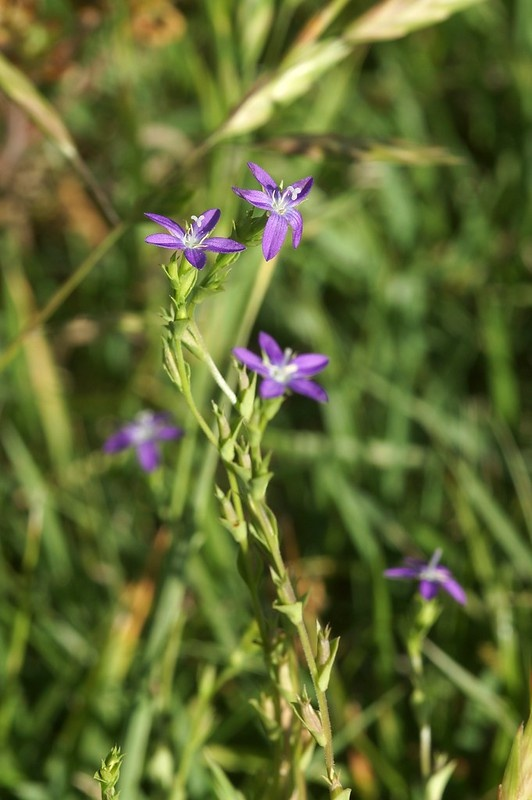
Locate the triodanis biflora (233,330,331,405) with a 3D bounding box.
[{"bbox_3d":[0.017,-0.026,0.567,0.068,0.033,0.060,14,-19,-9],"label":"triodanis biflora"}]

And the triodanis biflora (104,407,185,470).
[{"bbox_3d":[-0.148,0.047,0.978,0.073,0.043,0.121,6,34,12],"label":"triodanis biflora"}]

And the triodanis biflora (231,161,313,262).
[{"bbox_3d":[0.014,-0.151,0.627,0.070,0.037,0.053,-13,-14,30],"label":"triodanis biflora"}]

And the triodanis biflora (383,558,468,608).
[{"bbox_3d":[0.150,0.161,0.743,0.056,0.013,0.058,20,18,31],"label":"triodanis biflora"}]

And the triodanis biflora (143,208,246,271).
[{"bbox_3d":[-0.059,-0.133,0.610,0.072,0.027,0.066,0,-3,39],"label":"triodanis biflora"}]
